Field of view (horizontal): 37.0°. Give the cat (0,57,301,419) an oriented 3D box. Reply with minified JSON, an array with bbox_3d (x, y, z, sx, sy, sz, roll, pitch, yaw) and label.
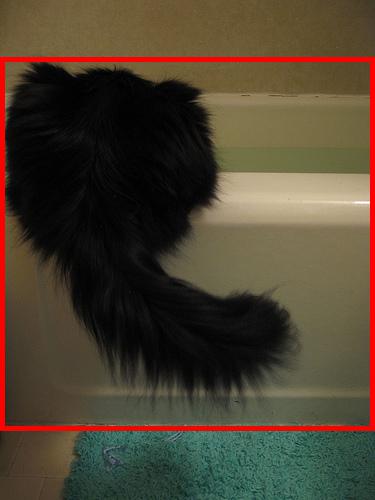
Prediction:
[{"bbox_3d":[-0.063,-0.041,0.745,0.323,0.397,0.375,-9,24,-16],"label":"cat"}]
